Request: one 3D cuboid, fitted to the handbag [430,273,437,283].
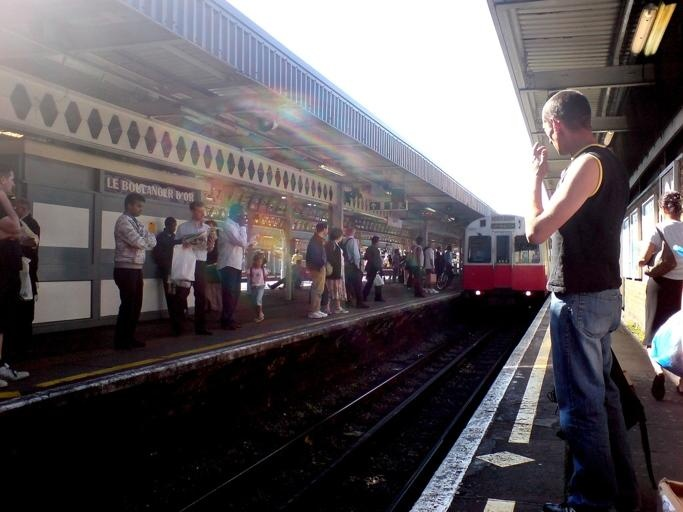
[{"bbox_3d":[3.925,0.970,20.839,0.283,0.639,0.589,-1,-1,15],"label":"handbag"}]

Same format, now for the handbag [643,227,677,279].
[{"bbox_3d":[3.559,-0.029,5.434,0.174,0.569,0.506,2,-3,4],"label":"handbag"}]

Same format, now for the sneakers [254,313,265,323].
[{"bbox_3d":[-1.751,1.356,10.431,0.080,0.125,0.265,-3,-8,14],"label":"sneakers"}]

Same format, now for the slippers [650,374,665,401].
[{"bbox_3d":[3.395,1.415,5.236,0.113,0.267,0.179,-2,-1,31],"label":"slippers"}]

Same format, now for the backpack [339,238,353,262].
[{"bbox_3d":[0.134,-0.136,12.955,0.282,0.612,0.501,-5,7,-21],"label":"backpack"}]

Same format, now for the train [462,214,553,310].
[{"bbox_3d":[7.263,0.102,22.092,2.333,2.695,7.273,-1,0,17],"label":"train"}]

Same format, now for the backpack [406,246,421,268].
[{"bbox_3d":[2.714,0.080,18.292,0.649,0.848,0.387,-10,-21,41],"label":"backpack"}]
